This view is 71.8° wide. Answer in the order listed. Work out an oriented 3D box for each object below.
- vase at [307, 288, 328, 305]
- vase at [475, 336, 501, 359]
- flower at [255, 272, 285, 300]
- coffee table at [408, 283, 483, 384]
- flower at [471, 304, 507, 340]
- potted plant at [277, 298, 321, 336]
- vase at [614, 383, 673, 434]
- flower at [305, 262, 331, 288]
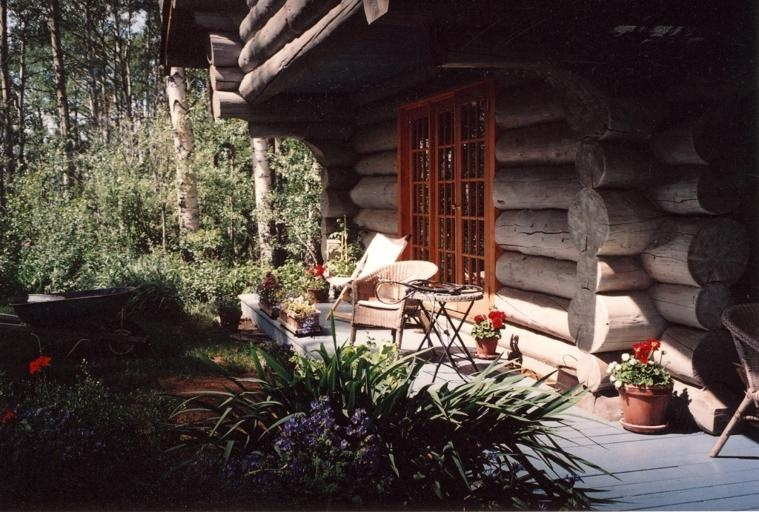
[{"bbox_3d":[-0.916,0.640,8.332,0.260,0.184,0.255,-3,2,-43],"label":"vase"},{"bbox_3d":[1.190,0.996,5.708,0.245,0.185,0.236,1,-9,-6],"label":"vase"},{"bbox_3d":[-1.684,0.473,8.143,0.349,0.415,0.364,12,21,36],"label":"flower"},{"bbox_3d":[0.693,0.685,5.370,0.952,0.991,0.948,1,0,-29],"label":"coffee table"},{"bbox_3d":[1.199,0.755,5.762,0.348,0.252,0.355,8,13,37],"label":"flower"},{"bbox_3d":[-1.031,0.773,6.817,0.367,0.494,0.719,5,-1,-30],"label":"potted plant"},{"bbox_3d":[2.290,1.298,4.614,0.422,0.334,0.419,0,-6,-3],"label":"vase"},{"bbox_3d":[-0.987,0.333,8.352,0.425,0.373,0.393,2,3,4],"label":"flower"}]
